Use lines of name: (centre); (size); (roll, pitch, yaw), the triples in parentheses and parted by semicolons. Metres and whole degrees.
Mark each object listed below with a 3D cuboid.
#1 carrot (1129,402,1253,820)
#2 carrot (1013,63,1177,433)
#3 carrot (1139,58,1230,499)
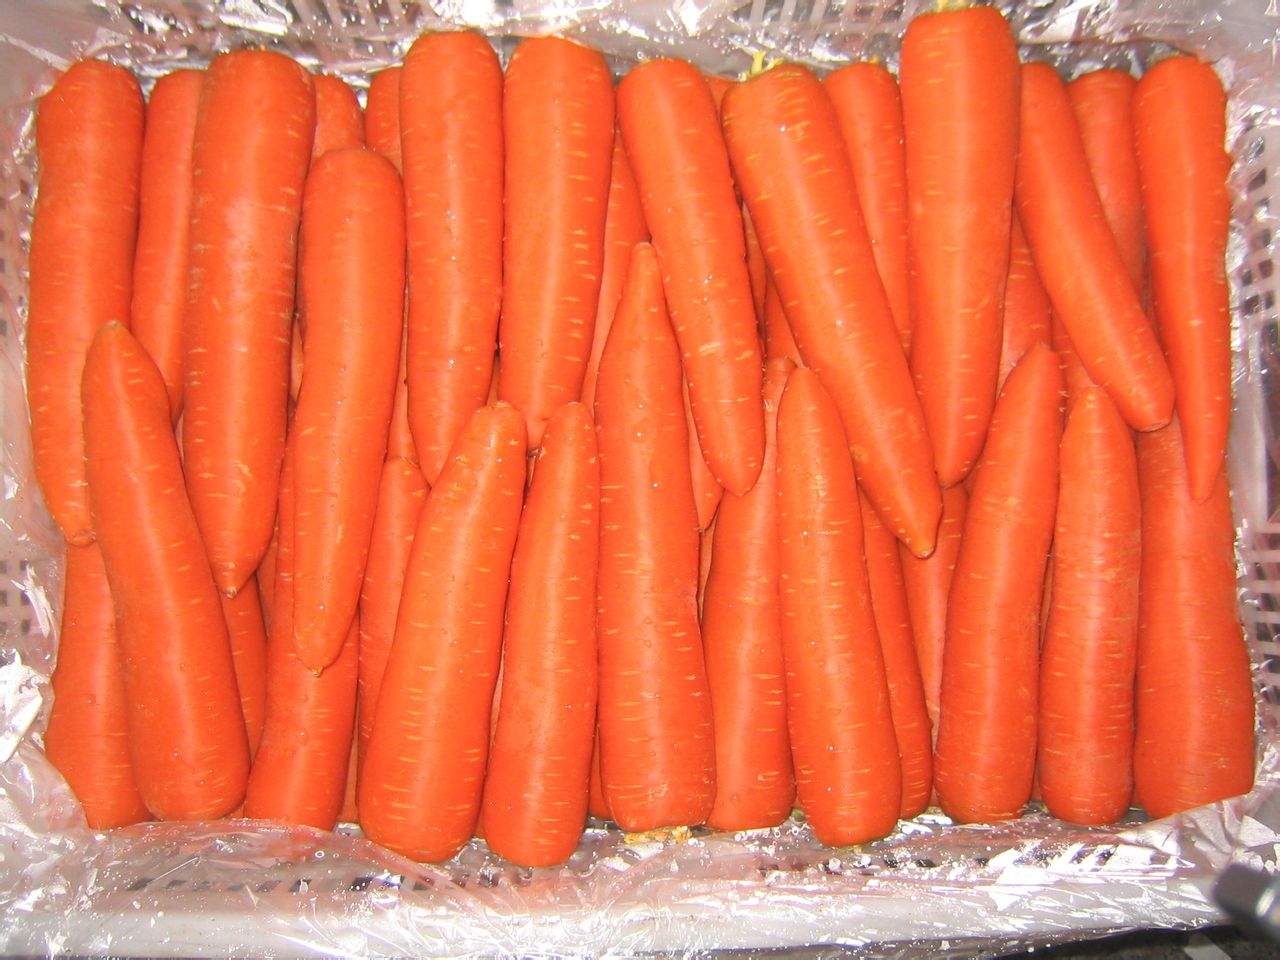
carrot: (0.869, 0.192, 1.908); (0.182, 0.163, 0.668); (-10, 85, 29)
carrot: (0.773, -0.281, 1.831); (0.159, 0.652, 0.148); (14, 66, 36)
carrot: (0.864, -0.300, 1.879); (0.131, 0.163, 0.683); (-7, 94, 8)
